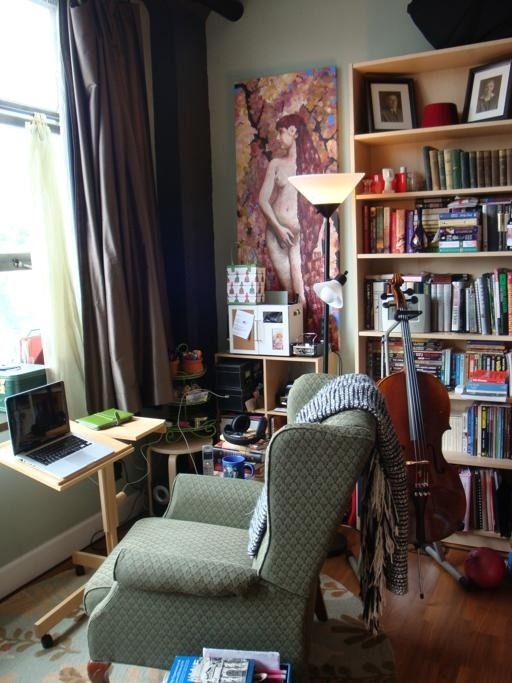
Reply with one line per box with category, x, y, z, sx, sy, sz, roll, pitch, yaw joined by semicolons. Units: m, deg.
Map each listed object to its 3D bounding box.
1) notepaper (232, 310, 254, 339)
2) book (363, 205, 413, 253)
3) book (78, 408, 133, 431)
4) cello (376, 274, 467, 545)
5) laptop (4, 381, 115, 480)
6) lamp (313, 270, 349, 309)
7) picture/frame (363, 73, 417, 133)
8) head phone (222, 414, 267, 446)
notepaper;-0.068;-0.099;2.862;0.115;0.162;0.016;17;15;30
book;0.642;-0.528;2.576;0.226;0.327;0.231;4;7;21
book;-0.594;0.310;2.088;0.107;0.031;0.112;8;14;34
cello;0.609;0.316;1.994;0.252;0.868;0.301;-3;5;-15
laptop;-0.700;0.303;1.822;0.256;0.325;0.299;2;13;30
lamp;0.311;-0.216;2.211;0.124;0.137;0.300;-2;5;7
picture/frame;0.640;-1.143;2.490;0.326;0.353;0.036;-2;-1;-10
head phone;-0.050;0.423;2.560;0.143;0.108;0.206;4;12;13
